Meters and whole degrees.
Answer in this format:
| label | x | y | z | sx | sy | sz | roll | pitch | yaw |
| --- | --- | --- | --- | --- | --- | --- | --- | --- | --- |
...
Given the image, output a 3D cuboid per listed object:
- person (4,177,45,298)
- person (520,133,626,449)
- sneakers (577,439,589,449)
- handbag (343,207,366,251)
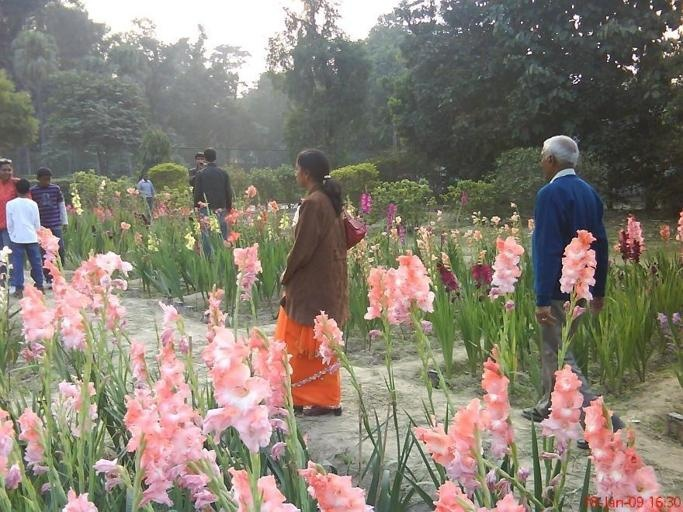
| label | x | y | z | sx | sy | sz | roll | pitch | yaw |
| --- | --- | --- | --- | --- | --- | --- | --- | --- | --- |
| person | -4.265 | -0.261 | 8.348 | 0.442 | 1.577 | 0.692 | -1 | -1 | -29 |
| person | 1.594 | 0.150 | 4.470 | 0.665 | 2.070 | 0.403 | -1 | -1 | -30 |
| sneakers | 1.614 | 1.245 | 4.107 | 0.067 | 0.071 | 0.203 | -2 | -1 | 23 |
| handbag | 0.088 | -0.204 | 4.880 | 0.250 | 0.287 | 0.197 | -10 | 13 | -5 |
